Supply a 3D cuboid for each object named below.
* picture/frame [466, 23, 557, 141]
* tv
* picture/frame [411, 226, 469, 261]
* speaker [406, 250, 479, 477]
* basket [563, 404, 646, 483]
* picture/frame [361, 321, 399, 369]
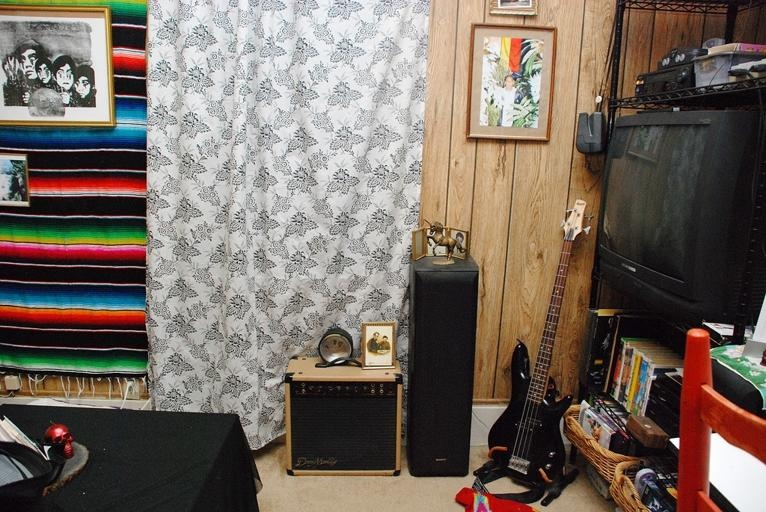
[{"bbox_3d":[0.701,-0.989,3.250,0.578,0.710,0.028,2,8,-1],"label":"picture/frame"},{"bbox_3d":[1.360,-0.214,2.792,0.250,0.932,0.739,-5,11,-20],"label":"tv"},{"bbox_3d":[0.314,-0.080,3.276,0.307,0.182,0.150,0,14,3],"label":"picture/frame"},{"bbox_3d":[0.326,0.634,3.175,0.345,1.154,0.128,1,10,7],"label":"speaker"},{"bbox_3d":[1.052,1.001,2.997,0.187,0.406,0.577,6,-14,-11],"label":"basket"},{"bbox_3d":[-0.020,0.491,3.250,0.245,0.325,0.061,0,-2,-6],"label":"picture/frame"}]
